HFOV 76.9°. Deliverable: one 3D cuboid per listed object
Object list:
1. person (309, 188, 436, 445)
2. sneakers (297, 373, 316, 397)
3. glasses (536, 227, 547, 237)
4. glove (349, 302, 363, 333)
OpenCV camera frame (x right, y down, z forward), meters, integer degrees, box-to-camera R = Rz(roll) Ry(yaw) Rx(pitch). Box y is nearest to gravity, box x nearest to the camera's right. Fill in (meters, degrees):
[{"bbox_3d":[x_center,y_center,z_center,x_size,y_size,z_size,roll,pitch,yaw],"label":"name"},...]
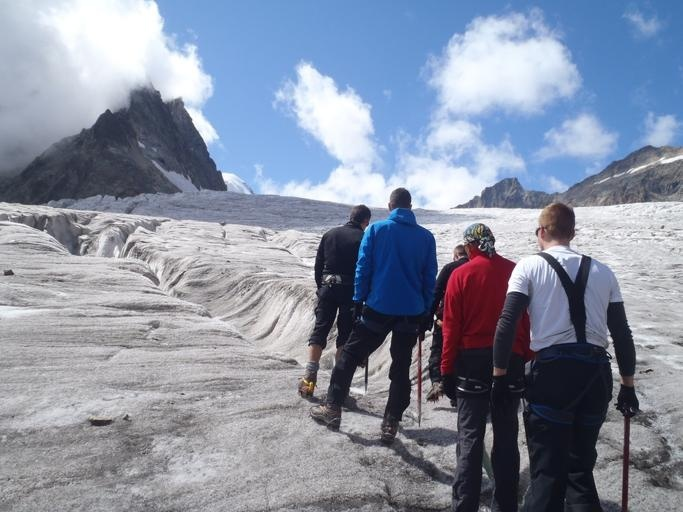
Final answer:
[{"bbox_3d":[0.386,0.461,3.845,0.803,2.132,0.724,12,9,12],"label":"person"},{"bbox_3d":[-0.359,1.284,4.248,0.138,0.218,0.221,7,-4,-13],"label":"sneakers"},{"bbox_3d":[1.406,-0.174,3.021,0.058,0.021,0.059,8,-12,-32],"label":"glasses"},{"bbox_3d":[0.143,0.543,3.911,0.209,0.294,0.076,1,-5,20],"label":"glove"}]
